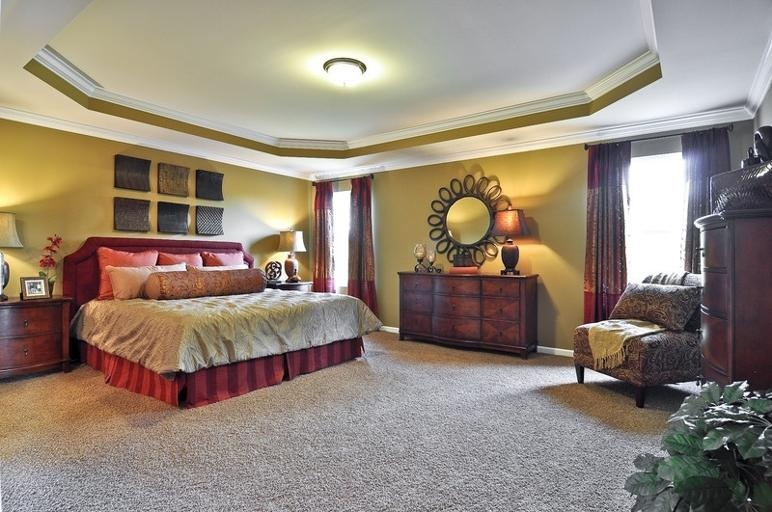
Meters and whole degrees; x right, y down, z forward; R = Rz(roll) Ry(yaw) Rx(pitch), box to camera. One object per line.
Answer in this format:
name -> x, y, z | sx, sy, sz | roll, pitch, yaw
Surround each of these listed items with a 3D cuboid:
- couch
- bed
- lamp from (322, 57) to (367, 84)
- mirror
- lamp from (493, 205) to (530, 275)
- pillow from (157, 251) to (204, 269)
couch -> 2.750, 0.868, 5.463 | 1.403, 1.420, 1.095 | 6, -9, -21
bed -> -2.182, 0.505, 6.200 | 2.703, 1.618, 2.781 | 1, 2, 32
lamp -> -0.447, -1.966, 5.148 | 0.471, 0.131, 0.374 | -2, 0, -6
mirror -> 1.252, -0.497, 6.882 | 1.069, 1.139, 0.059 | -23, -14, 32
lamp -> 1.675, -0.220, 6.455 | 0.393, 0.923, 0.515 | -2, 1, 17
pillow -> -2.784, 0.020, 6.498 | 0.332, 0.234, 0.097 | 10, -29, -33
